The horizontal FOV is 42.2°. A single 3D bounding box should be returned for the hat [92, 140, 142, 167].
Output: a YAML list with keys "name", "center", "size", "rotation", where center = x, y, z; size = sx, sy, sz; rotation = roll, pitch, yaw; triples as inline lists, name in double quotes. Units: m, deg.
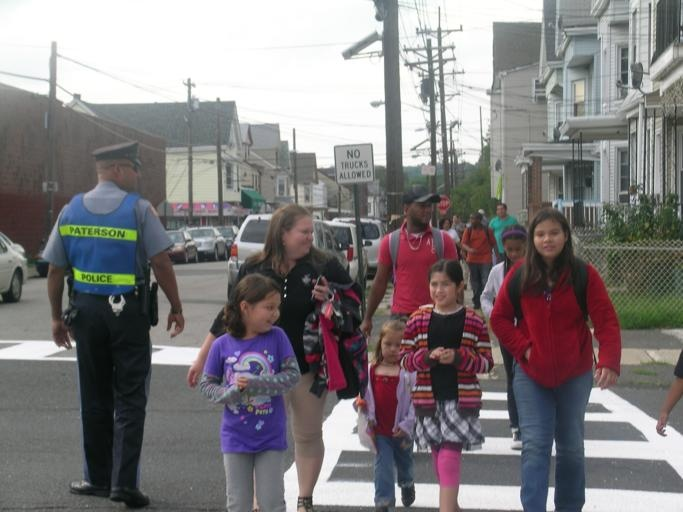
- name: "hat"
  center: [-1.982, -0.914, 7.799]
  size: [0.336, 0.212, 0.295]
  rotation: [-2, 7, -20]

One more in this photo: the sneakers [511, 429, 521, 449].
- name: "sneakers"
  center: [1.737, 1.837, 8.799]
  size: [0.086, 0.221, 0.208]
  rotation: [1, -1, 11]

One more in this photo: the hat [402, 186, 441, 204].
- name: "hat"
  center: [0.729, -0.580, 8.603]
  size: [0.162, 0.117, 0.252]
  rotation: [-2, 2, -40]

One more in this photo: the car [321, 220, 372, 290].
- name: "car"
  center: [0.222, -0.275, 22.457]
  size: [0.876, 0.909, 1.707]
  rotation: [-1, 22, 8]

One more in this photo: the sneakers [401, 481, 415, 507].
- name: "sneakers"
  center: [0.559, 2.020, 7.430]
  size: [0.071, 0.103, 0.248]
  rotation: [-4, 49, 15]

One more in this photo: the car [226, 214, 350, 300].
- name: "car"
  center: [-1.379, -0.014, 18.994]
  size: [1.406, 1.381, 2.627]
  rotation: [0, 8, 16]

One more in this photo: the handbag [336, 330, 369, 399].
- name: "handbag"
  center: [0.072, 0.878, 7.117]
  size: [0.246, 0.573, 0.398]
  rotation: [-7, -12, 16]

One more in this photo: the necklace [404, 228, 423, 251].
- name: "necklace"
  center: [0.705, -0.160, 8.576]
  size: [0.121, 0.185, 0.113]
  rotation: [-2, -7, 2]

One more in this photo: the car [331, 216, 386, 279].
- name: "car"
  center: [0.666, -0.296, 25.725]
  size: [1.106, 1.121, 2.002]
  rotation: [0, 16, 8]

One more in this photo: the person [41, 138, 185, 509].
- name: "person"
  center: [-1.931, 0.550, 7.630]
  size: [0.958, 3.024, 0.770]
  rotation: [3, 5, 37]

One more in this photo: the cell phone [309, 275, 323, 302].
- name: "cell phone"
  center: [-0.209, 0.269, 7.101]
  size: [0.039, 0.174, 0.114]
  rotation: [6, 0, 36]
